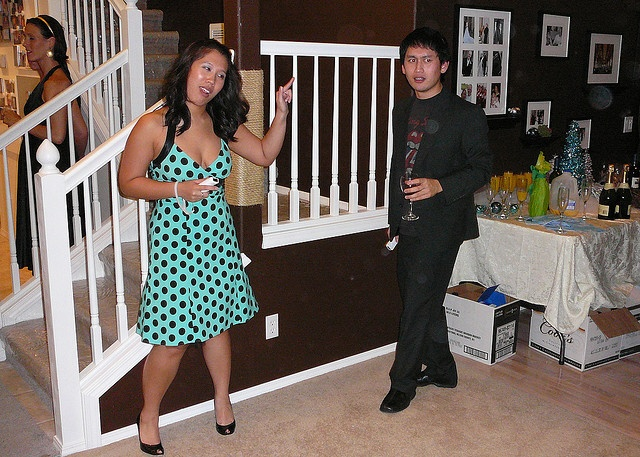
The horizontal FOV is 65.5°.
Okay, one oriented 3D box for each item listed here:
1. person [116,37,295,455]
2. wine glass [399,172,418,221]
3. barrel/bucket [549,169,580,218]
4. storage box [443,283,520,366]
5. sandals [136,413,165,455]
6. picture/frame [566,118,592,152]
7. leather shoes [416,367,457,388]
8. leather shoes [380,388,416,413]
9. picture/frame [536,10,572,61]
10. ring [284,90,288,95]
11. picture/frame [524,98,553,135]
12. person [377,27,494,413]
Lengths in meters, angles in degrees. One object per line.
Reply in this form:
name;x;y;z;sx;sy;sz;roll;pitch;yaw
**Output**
person;-0.580;0.141;2.526;0.793;2.088;0.450;-5;16;-23
wine glass;0.508;-0.163;2.801;0.106;0.290;0.283;4;16;10
barrel/bucket;1.773;-0.247;3.584;0.259;0.352;0.271;6;-6;1
storage box;1.155;0.689;3.599;0.306;0.382;0.520;-6;8;-24
sandals;-0.939;1.118;2.698;0.089;0.116;0.262;5;15;-43
picture/frame;3.156;-1.112;5.908;0.101;0.361;0.413;13;19;37
leather shoes;0.750;0.960;3.225;0.288;0.132;0.117;4;15;-1
leather shoes;0.475;1.015;2.998;0.089;0.105;0.232;13;13;44
picture/frame;2.525;-2.072;5.327;0.437;0.438;0.035;-6;12;-24
ring;-0.173;-0.685;2.514;0.015;0.014;0.019;-23;32;24
picture/frame;2.358;-1.215;5.358;0.370;0.386;0.030;-12;18;-34
person;0.677;-0.016;2.872;0.570;2.162;0.534;3;15;8
